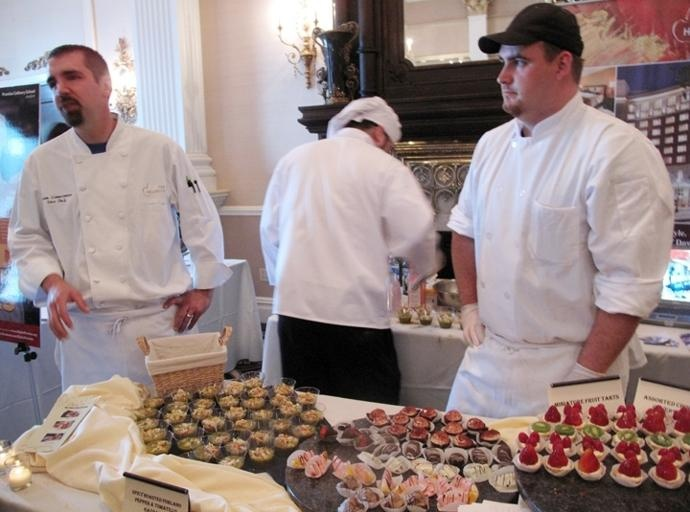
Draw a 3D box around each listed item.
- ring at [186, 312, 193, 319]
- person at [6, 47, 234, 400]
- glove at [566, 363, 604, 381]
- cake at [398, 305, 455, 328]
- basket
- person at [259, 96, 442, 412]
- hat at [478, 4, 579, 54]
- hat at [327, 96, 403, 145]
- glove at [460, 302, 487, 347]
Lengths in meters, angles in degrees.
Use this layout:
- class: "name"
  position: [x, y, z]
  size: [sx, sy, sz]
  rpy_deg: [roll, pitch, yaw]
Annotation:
- class: "ring"
  position: [-0.657, 0.254, 2.520]
  size: [0.005, 0.021, 0.021]
  rpy_deg: [5, 5, 33]
- class: "person"
  position: [-0.943, -0.161, 2.461]
  size: [0.859, 1.388, 0.434]
  rpy_deg: [-9, 11, -21]
- class: "glove"
  position: [0.762, 0.372, 1.890]
  size: [0.068, 0.076, 0.072]
  rpy_deg: [18, -16, -29]
- class: "cake"
  position: [0.392, 0.295, 2.863]
  size: [0.175, 0.059, 0.128]
  rpy_deg: [0, 1, 20]
- class: "basket"
  position: [-0.583, 0.387, 2.197]
  size: [0.361, 0.256, 0.245]
  rpy_deg: [-3, 1, -23]
- class: "person"
  position: [0.028, -0.018, 2.698]
  size: [0.778, 1.345, 0.457]
  rpy_deg: [-7, 11, -10]
- class: "hat"
  position: [0.608, -0.710, 1.960]
  size: [0.270, 0.141, 0.176]
  rpy_deg: [13, 19, -7]
- class: "hat"
  position: [0.094, -0.626, 2.754]
  size: [0.252, 0.174, 0.213]
  rpy_deg: [4, 15, -3]
- class: "glove"
  position: [0.471, 0.252, 2.199]
  size: [0.076, 0.141, 0.037]
  rpy_deg: [-25, -38, 34]
